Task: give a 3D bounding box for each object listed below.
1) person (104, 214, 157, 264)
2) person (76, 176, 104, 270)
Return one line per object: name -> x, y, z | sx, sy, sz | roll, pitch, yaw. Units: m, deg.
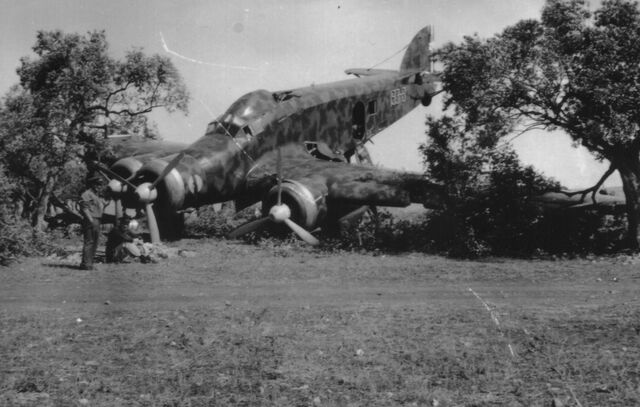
person -> -5.778, 1.130, 15.652 | 1.317, 1.302, 0.630 | 1, -2, -20
person -> -6.737, 0.567, 15.150 | 0.611, 2.700, 0.445 | 2, -3, -36
